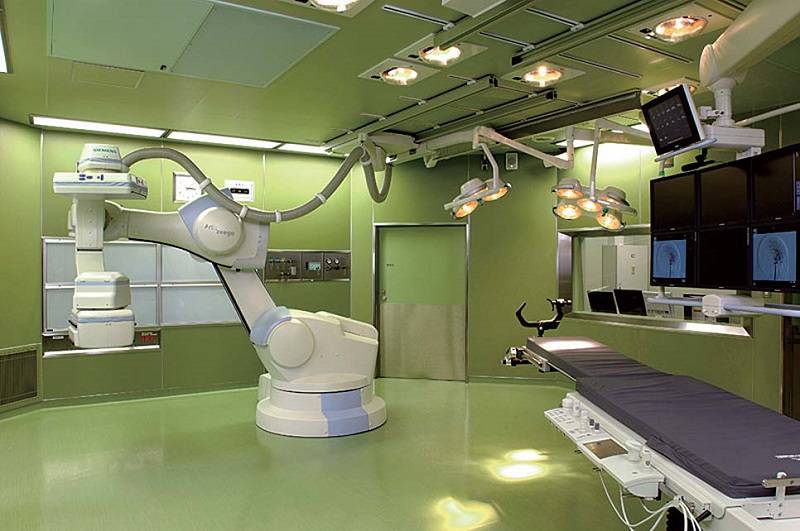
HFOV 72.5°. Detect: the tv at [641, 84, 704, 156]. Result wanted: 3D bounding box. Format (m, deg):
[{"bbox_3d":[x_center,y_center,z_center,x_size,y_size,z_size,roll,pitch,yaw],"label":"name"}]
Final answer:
[{"bbox_3d":[2.104,-1.121,4.227,0.190,0.506,0.464,-2,7,-20],"label":"tv"}]
